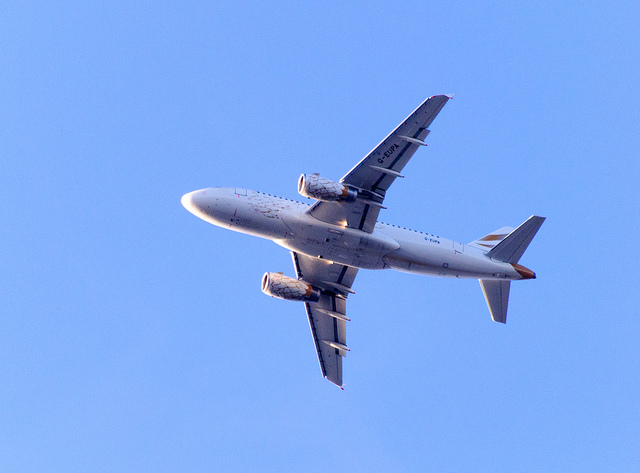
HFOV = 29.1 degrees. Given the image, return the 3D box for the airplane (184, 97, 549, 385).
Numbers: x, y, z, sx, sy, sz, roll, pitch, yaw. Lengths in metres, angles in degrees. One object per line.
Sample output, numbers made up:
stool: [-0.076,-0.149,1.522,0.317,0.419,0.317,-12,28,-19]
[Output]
airplane: [3.750,0.036,74.391,19.808,7.334,17.128,9,-77,-9]
